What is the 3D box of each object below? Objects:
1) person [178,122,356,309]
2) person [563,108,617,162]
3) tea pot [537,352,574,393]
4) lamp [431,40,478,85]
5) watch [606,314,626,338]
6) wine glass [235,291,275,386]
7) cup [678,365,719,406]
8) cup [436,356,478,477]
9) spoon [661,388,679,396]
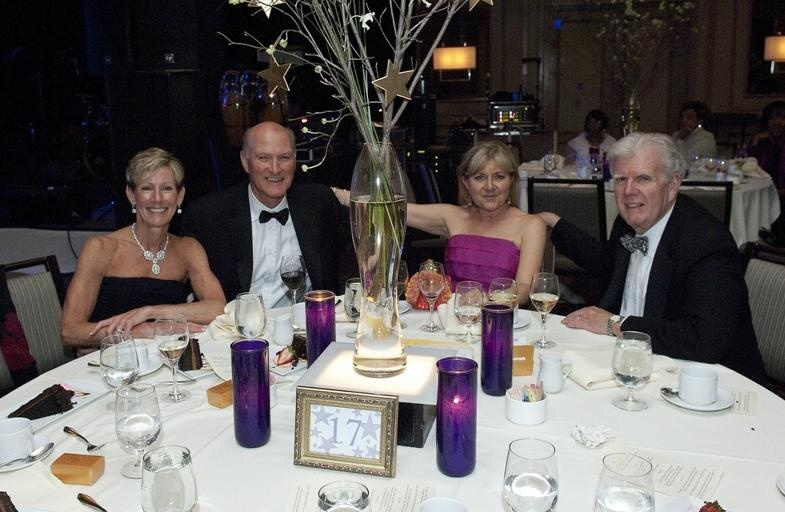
[{"bbox_3d":[-0.761,-0.293,3.415,1.161,1.011,0.567,-6,13,-30],"label":"person"},{"bbox_3d":[2.649,-1.535,7.241,0.717,0.743,0.435,10,19,35],"label":"person"},{"bbox_3d":[0.569,0.423,2.011,0.150,0.159,0.118,1,2,1],"label":"tea pot"},{"bbox_3d":[1.285,-3.933,11.188,0.867,0.713,0.880,1,18,13],"label":"lamp"},{"bbox_3d":[0.950,0.296,2.359,0.065,0.101,0.104,0,40,19],"label":"watch"},{"bbox_3d":[-0.554,0.274,2.191,0.185,0.260,0.261,-1,9,-13],"label":"wine glass"},{"bbox_3d":[1.048,0.426,1.864,0.120,0.098,0.123,-2,2,0],"label":"cup"},{"bbox_3d":[0.184,0.472,1.565,0.109,0.310,0.094,0,18,10],"label":"cup"},{"bbox_3d":[0.957,0.467,1.883,0.083,0.015,0.020,0,25,-28],"label":"spoon"}]
